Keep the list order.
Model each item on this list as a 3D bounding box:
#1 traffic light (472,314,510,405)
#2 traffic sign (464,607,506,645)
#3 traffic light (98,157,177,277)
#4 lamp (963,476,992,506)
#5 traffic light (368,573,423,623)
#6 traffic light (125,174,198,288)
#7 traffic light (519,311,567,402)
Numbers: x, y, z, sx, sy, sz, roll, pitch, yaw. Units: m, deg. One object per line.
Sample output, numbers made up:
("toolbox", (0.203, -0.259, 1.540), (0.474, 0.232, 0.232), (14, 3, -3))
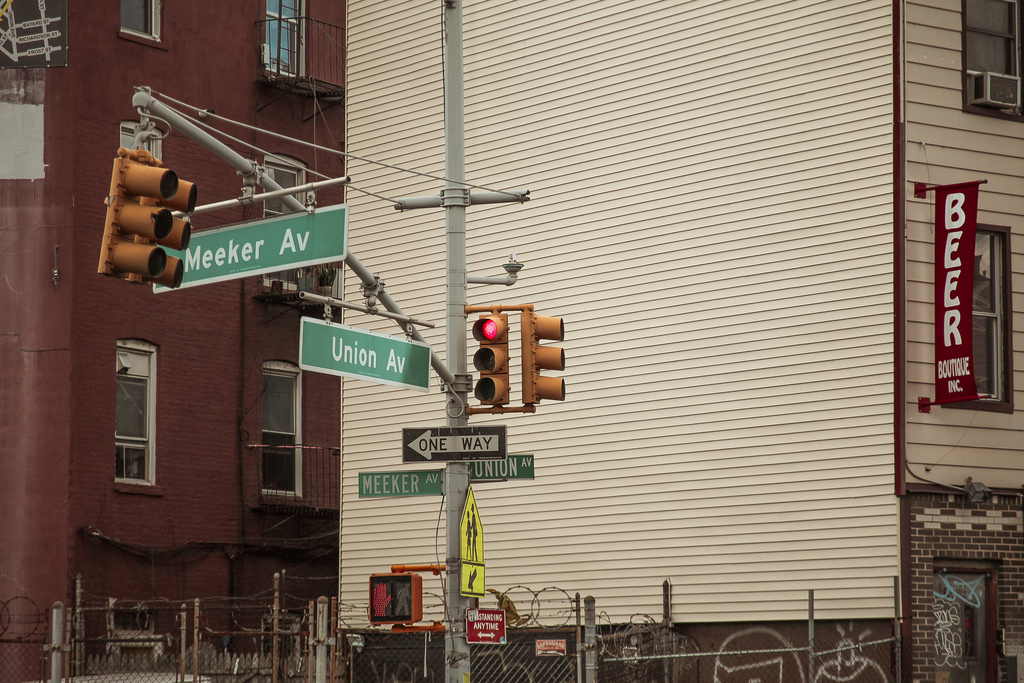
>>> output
("traffic light", (-0.357, 0.269, 36.466), (0.546, 1.550, 0.431), (-1, -13, -3))
("traffic sign", (-0.476, 4.697, 35.999), (0.755, 0.554, 0.101), (0, -4, -3))
("traffic light", (-5.850, -1.953, 33.646), (0.912, 1.912, 0.861), (9, 1, 9))
("lamp", (8.578, 2.731, 40.049), (0.450, 0.467, 0.486), (-1, 2, -7))
("traffic light", (-1.921, 4.297, 36.323), (0.902, 0.858, 0.362), (-5, -8, 26))
("traffic light", (-5.642, -1.735, 33.901), (0.923, 1.595, 1.383), (1, -13, -5))
("traffic light", (0.501, 0.197, 36.595), (0.680, 1.672, 0.691), (-2, -13, -1))
